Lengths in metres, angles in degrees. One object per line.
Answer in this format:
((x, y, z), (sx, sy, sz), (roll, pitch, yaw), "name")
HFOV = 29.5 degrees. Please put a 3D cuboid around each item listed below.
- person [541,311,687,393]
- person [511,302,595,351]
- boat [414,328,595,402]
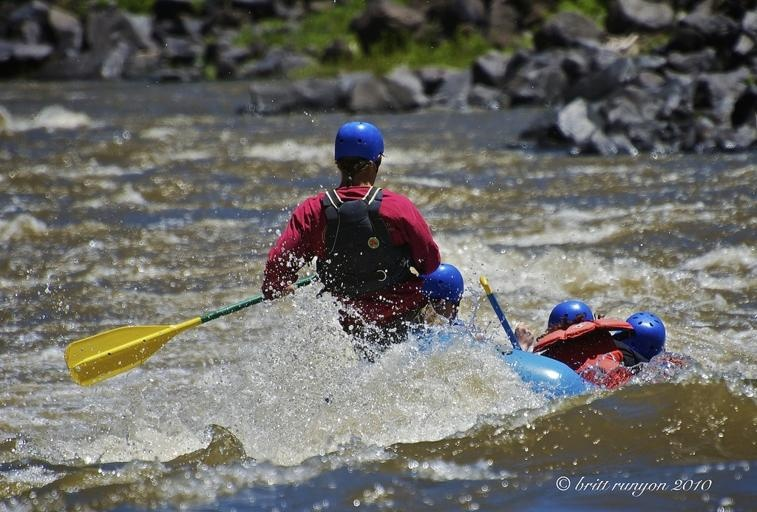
((3.405, 1.417, 21.981), (1.649, 0.659, 1.206), (5, -11, -40), "person")
((2.848, 0.991, 22.281), (0.921, 0.493, 1.086), (-8, 4, 14), "person")
((1.923, 1.571, 21.759), (2.189, 0.415, 1.146), (16, 8, 22), "boat")
